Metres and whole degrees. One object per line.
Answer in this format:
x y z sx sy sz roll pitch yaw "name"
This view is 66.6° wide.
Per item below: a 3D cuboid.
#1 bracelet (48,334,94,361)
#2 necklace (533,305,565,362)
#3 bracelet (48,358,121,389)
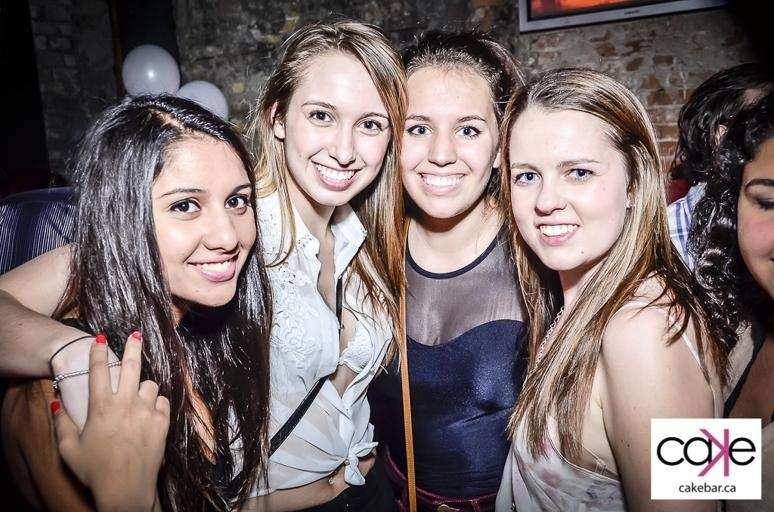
-1.448 0.414 2.688 0.102 0.027 0.110 -23 25 39 "bracelet"
0.837 0.398 3.030 0.034 0.386 0.089 29 -16 -22 "necklace"
-1.393 0.534 2.678 0.311 0.100 0.062 -21 14 -32 "bracelet"
